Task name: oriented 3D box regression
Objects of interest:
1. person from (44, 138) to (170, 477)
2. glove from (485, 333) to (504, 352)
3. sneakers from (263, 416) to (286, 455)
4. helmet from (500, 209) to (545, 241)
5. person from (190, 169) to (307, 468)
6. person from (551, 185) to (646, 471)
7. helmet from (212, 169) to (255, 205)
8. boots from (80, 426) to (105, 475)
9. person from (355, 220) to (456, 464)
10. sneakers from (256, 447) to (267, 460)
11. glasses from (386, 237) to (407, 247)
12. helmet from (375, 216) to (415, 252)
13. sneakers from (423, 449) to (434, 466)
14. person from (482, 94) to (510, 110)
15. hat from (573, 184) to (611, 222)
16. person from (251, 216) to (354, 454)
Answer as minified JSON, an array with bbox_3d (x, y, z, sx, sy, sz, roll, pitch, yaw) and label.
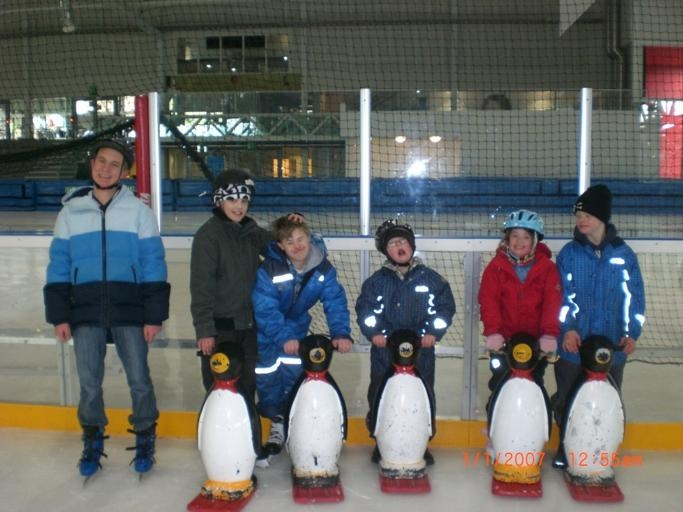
[{"bbox_3d":[-1.877,0.419,8.020,0.967,2.667,0.553,-5,9,-18],"label":"person"},{"bbox_3d":[1.224,0.706,7.962,0.150,0.116,0.048,1,18,9],"label":"glove"},{"bbox_3d":[-0.555,1.468,8.241,0.151,0.210,0.465,-3,21,10],"label":"sneakers"},{"bbox_3d":[1.510,-0.237,8.109,0.217,0.166,0.302,2,-19,32],"label":"helmet"},{"bbox_3d":[-0.717,0.492,8.328,0.956,2.468,0.654,-1,20,-2],"label":"person"},{"bbox_3d":[2.090,0.265,8.052,0.684,1.656,0.399,-1,8,9],"label":"person"},{"bbox_3d":[-0.882,-0.557,8.238,0.273,0.313,0.368,-4,-13,-14],"label":"helmet"},{"bbox_3d":[-2.008,1.579,8.035,0.154,0.203,0.443,-2,25,-9],"label":"boots"},{"bbox_3d":[0.529,0.715,8.170,0.808,1.998,0.600,-3,8,0],"label":"person"},{"bbox_3d":[-0.637,1.605,7.995,0.103,0.124,0.133,2,-12,-7],"label":"sneakers"},{"bbox_3d":[0.442,-0.107,8.078,0.164,0.090,0.038,-2,8,1],"label":"glasses"},{"bbox_3d":[0.434,-0.213,8.146,0.247,0.291,0.290,-6,35,-2],"label":"helmet"},{"bbox_3d":[0.724,1.661,8.184,0.084,0.110,0.223,-1,9,9],"label":"sneakers"},{"bbox_3d":[1.887,-1.902,12.159,0.317,0.190,1.046,-1,9,12],"label":"person"},{"bbox_3d":[2.063,-0.425,8.183,0.312,0.260,0.236,1,5,-4],"label":"hat"},{"bbox_3d":[-0.333,0.653,8.101,0.771,1.970,0.477,-4,8,-7],"label":"person"}]
